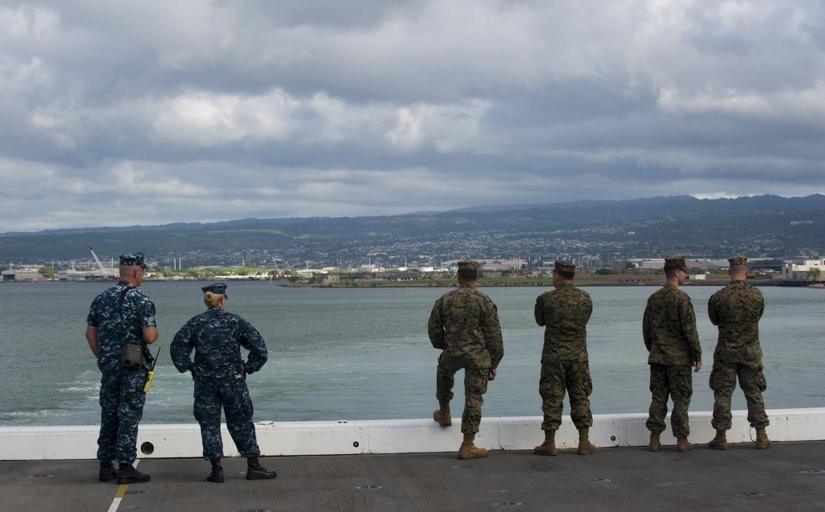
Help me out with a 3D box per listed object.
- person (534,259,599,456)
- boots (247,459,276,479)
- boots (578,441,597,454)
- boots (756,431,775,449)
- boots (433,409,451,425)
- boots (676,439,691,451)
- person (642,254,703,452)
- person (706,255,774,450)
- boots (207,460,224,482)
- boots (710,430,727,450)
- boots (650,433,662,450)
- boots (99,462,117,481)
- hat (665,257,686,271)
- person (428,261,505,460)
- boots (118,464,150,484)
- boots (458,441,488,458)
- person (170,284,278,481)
[{"bbox_3d":[2.779,1.787,17.514,1.066,3.420,1.554,-3,-4,9],"label":"person"},{"bbox_3d":[-2.411,3.505,15.658,0.737,0.334,0.219,1,-3,-4],"label":"boots"},{"bbox_3d":[3.039,3.351,16.787,0.374,0.158,0.189,-5,8,-30],"label":"boots"},{"bbox_3d":[6.248,3.239,17.034,0.294,0.320,0.150,-2,-4,-4],"label":"boots"},{"bbox_3d":[0.518,2.856,16.996,0.216,0.238,0.429,-2,12,-9],"label":"boots"},{"bbox_3d":[4.801,3.334,16.947,0.227,0.206,0.170,-3,-4,12],"label":"boots"},{"bbox_3d":[4.643,1.735,17.245,1.020,3.413,0.673,-3,-5,10],"label":"person"},{"bbox_3d":[5.862,1.704,17.366,0.984,3.442,0.895,-5,-5,26],"label":"person"},{"bbox_3d":[-3.208,3.509,15.544,0.235,0.296,0.504,1,-2,-19],"label":"boots"},{"bbox_3d":[5.460,3.276,17.135,0.331,0.320,0.287,-2,-4,10],"label":"boots"},{"bbox_3d":[4.322,3.301,17.106,0.221,0.297,0.408,-3,-4,13],"label":"boots"},{"bbox_3d":[-4.988,3.497,15.603,0.282,0.310,0.149,-1,-4,-12],"label":"boots"},{"bbox_3d":[4.796,0.138,17.472,0.318,0.141,0.343,2,2,13],"label":"hat"},{"bbox_3d":[0.928,1.792,16.855,1.268,3.414,0.567,-3,-5,6],"label":"person"},{"bbox_3d":[-4.488,3.529,15.573,0.693,0.310,0.225,-1,6,-22],"label":"boots"},{"bbox_3d":[1.034,3.358,16.673,0.652,0.297,0.203,-3,4,-19],"label":"boots"},{"bbox_3d":[-3.174,2.061,15.874,1.533,3.234,0.543,-2,-5,-10],"label":"person"}]
